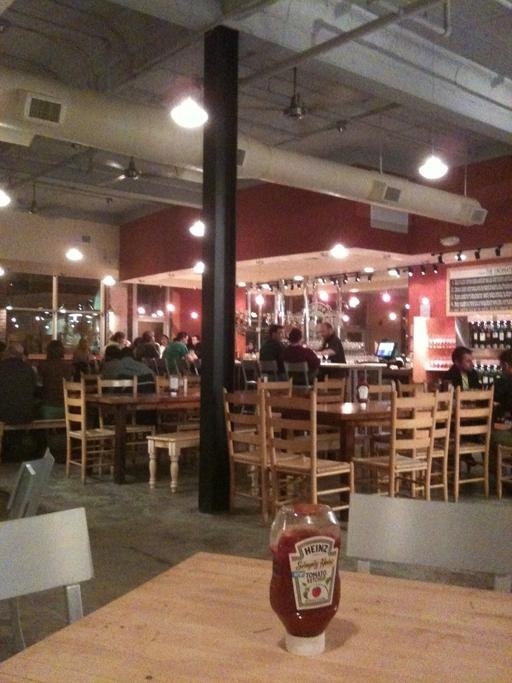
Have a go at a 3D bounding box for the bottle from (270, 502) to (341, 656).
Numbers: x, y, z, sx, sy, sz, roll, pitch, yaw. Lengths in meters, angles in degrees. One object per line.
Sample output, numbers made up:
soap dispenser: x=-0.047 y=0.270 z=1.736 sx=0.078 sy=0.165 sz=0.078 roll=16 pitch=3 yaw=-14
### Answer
bottle: x=0.058 y=0.284 z=0.668 sx=0.072 sy=0.166 sz=0.086 roll=-2 pitch=0 yaw=34

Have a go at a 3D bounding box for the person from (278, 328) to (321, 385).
person: x=0.613 y=0.187 z=7.451 sx=0.551 sy=0.712 sz=0.414 roll=4 pitch=12 yaw=37

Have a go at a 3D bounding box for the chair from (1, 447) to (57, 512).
chair: x=-0.849 y=0.547 z=2.142 sx=0.156 sy=0.284 sz=0.345 roll=-2 pitch=0 yaw=-24

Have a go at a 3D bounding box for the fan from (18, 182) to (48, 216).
fan: x=-4.595 y=-2.969 z=11.666 sx=0.274 sy=0.226 sz=0.774 roll=17 pitch=38 yaw=-4

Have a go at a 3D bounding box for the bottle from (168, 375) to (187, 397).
bottle: x=-0.812 y=0.465 z=6.042 sx=0.217 sy=0.229 sz=0.172 roll=-1 pitch=3 yaw=-14
